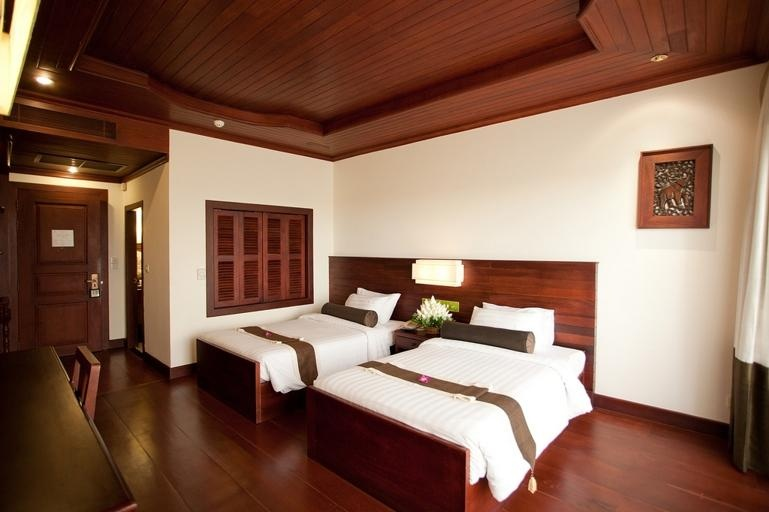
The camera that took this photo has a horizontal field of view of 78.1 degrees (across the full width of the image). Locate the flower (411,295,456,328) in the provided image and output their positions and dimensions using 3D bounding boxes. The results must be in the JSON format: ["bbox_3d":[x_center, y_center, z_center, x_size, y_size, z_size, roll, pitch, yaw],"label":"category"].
[{"bbox_3d":[0.651,0.792,6.507,0.470,0.331,0.446,4,-4,-32],"label":"flower"}]

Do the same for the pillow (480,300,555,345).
[{"bbox_3d":[1.582,0.798,5.615,0.539,0.325,0.156,1,-9,41],"label":"pillow"}]
